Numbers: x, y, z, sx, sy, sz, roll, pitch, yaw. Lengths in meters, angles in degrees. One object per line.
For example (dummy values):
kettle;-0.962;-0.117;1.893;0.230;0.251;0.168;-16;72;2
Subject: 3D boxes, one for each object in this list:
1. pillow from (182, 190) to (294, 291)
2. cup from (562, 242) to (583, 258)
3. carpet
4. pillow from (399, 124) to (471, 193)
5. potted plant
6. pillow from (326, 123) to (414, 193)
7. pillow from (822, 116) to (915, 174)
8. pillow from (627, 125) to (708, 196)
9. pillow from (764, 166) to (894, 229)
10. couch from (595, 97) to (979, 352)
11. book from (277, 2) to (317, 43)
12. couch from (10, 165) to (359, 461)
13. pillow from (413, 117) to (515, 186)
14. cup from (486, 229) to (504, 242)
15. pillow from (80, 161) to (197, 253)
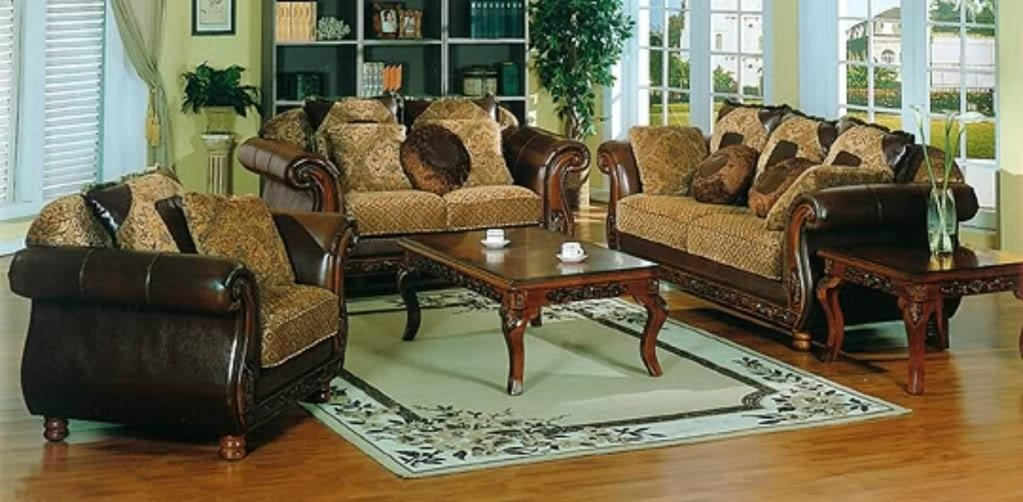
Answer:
pillow;-1.937;-0.053;5.400;0.217;0.629;0.756;-34;-19;33
cup;0.448;-0.014;5.885;0.151;0.086;0.104;8;9;40
carpet;0.391;0.931;6.024;3.715;0.457;2.303;-1;11;-4
pillow;-0.739;-0.901;7.517;0.764;0.614;0.342;5;-12;-25
potted plant;-3.549;-1.898;9.680;1.037;0.666;0.912;-1;12;-8
pillow;-1.358;-0.913;7.501;0.843;0.647;0.226;-10;-4;-22
pillow;2.931;-0.867;6.531;0.641;0.492;0.190;17;-10;39
pillow;1.486;-0.917;7.524;0.824;0.660;0.221;-4;-8;-18
pillow;2.529;-0.435;6.245;0.978;0.510;0.213;-2;12;-6
couch;2.288;-0.164;6.531;1.194;1.145;2.351;-4;11;-24
book;-2.672;-2.868;9.715;0.616;0.476;0.305;0;5;-8
couch;-2.113;0.321;5.873;2.122;1.839;2.635;3;8;13
pillow;-0.284;-0.990;7.767;0.913;0.703;0.200;-2;-7;-17
cup;-0.128;-0.133;6.224;0.121;0.070;0.110;1;7;5
pillow;-2.413;-0.246;5.190;0.553;0.583;0.227;-18;-9;-20
